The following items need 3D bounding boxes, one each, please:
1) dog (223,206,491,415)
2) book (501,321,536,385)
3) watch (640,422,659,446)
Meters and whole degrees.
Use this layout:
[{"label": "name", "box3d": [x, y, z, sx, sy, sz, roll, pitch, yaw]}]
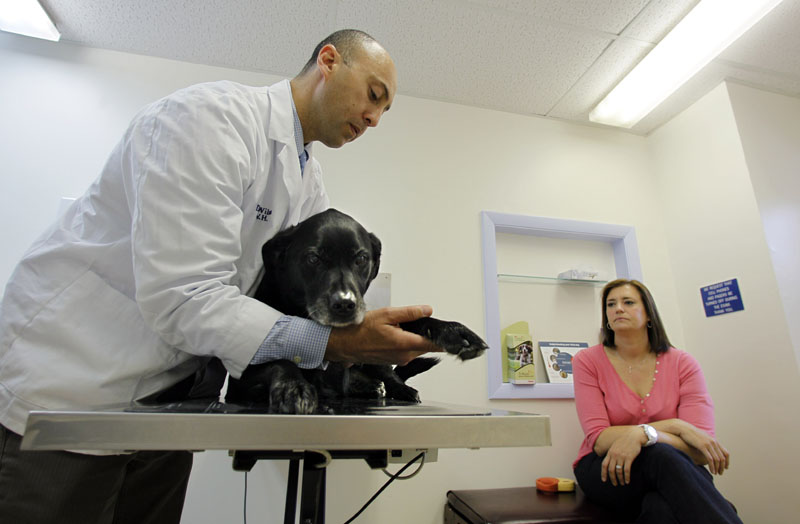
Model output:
[{"label": "dog", "box3d": [-0.252, 0.198, 2.009, 0.703, 0.557, 0.909, 2, -16, -21]}, {"label": "book", "box3d": [0.822, 0.620, 3.649, 0.211, 0.434, 0.139, 4, -11, -7]}, {"label": "watch", "box3d": [1.350, 0.926, 2.858, 0.079, 0.089, 0.041, 23, -48, -16]}]
